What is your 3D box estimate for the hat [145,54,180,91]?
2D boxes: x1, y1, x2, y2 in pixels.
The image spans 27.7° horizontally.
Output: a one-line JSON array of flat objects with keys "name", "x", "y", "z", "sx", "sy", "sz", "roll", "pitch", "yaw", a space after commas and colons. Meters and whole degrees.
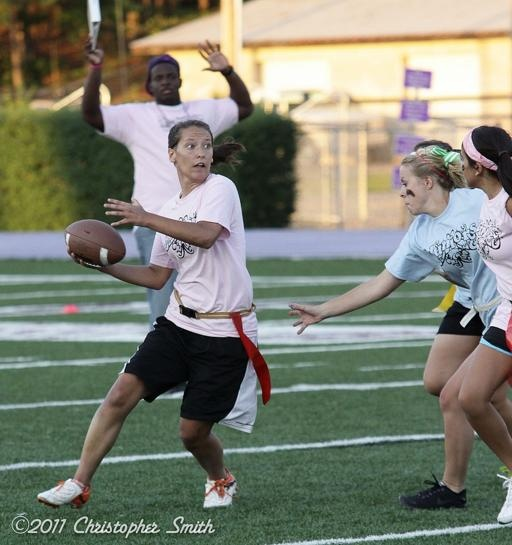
[{"name": "hat", "x": -0.641, "y": -1.365, "z": 7.104, "sx": 0.256, "sy": 0.235, "sz": 0.133, "roll": 3, "pitch": 1, "yaw": 3}]

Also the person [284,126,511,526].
[{"name": "person", "x": 0.959, "y": 0.254, "z": 5.409, "sx": 1.079, "sy": 1.855, "sz": 0.715, "roll": 7, "pitch": 13, "yaw": 40}]

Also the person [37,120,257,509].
[{"name": "person", "x": -0.459, "y": 0.222, "z": 5.309, "sx": 0.931, "sy": 1.968, "sz": 0.527, "roll": -3, "pitch": 10, "yaw": -9}]

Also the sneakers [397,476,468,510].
[{"name": "sneakers", "x": 0.920, "y": 1.163, "z": 5.344, "sx": 0.420, "sy": 0.129, "sz": 0.119, "roll": 2, "pitch": -3, "yaw": -1}]

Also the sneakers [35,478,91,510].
[{"name": "sneakers", "x": -0.928, "y": 1.098, "z": 5.092, "sx": 0.335, "sy": 0.136, "sz": 0.104, "roll": 2, "pitch": 15, "yaw": -9}]
